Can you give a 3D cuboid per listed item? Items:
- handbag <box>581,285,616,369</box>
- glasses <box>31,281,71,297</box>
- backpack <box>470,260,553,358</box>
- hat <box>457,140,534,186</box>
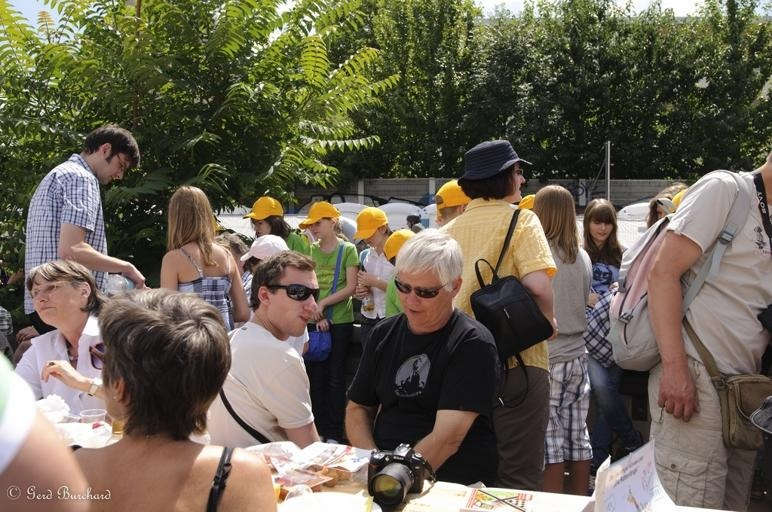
[{"bbox_3d":[2.063,0.671,7.675,0.249,0.680,0.514,7,-9,-44],"label":"handbag"},{"bbox_3d":[-2.712,0.256,6.433,0.139,0.077,0.182,-15,-2,15],"label":"glasses"},{"bbox_3d":[0.909,0.410,5.855,0.416,0.688,0.227,-28,-12,4],"label":"backpack"},{"bbox_3d":[0.834,-0.756,6.406,0.454,0.203,0.341,-8,-9,-43],"label":"hat"}]
